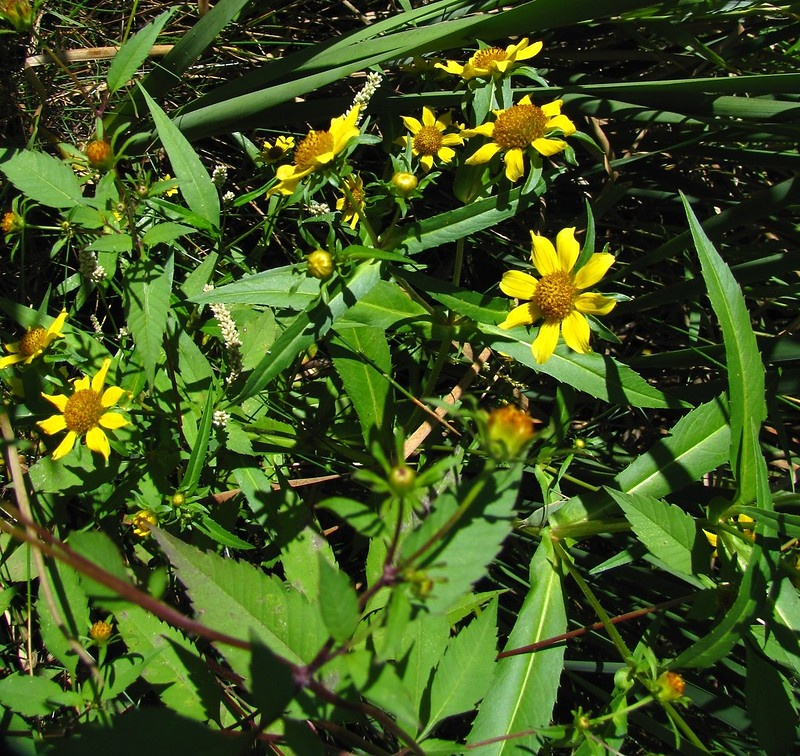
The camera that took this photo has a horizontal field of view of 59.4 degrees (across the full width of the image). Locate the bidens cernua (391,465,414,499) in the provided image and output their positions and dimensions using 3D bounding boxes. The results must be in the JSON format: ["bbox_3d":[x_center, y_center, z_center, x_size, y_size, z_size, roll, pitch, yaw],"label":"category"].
[{"bbox_3d":[0.001,0.219,1.505,0.077,0.064,0.064,3,18,-3],"label":"bidens cernua"}]

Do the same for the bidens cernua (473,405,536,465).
[{"bbox_3d":[0.216,0.124,1.572,0.150,0.118,0.130,15,22,-3],"label":"bidens cernua"}]

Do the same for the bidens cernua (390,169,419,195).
[{"bbox_3d":[0.017,-0.619,2.245,0.101,0.075,0.080,3,46,-11],"label":"bidens cernua"}]

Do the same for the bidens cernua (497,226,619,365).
[{"bbox_3d":[0.510,-0.261,2.338,0.374,0.410,0.292,-20,30,-6],"label":"bidens cernua"}]

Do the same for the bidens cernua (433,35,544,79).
[{"bbox_3d":[0.326,-1.143,2.533,0.337,0.111,0.283,-10,27,4],"label":"bidens cernua"}]
